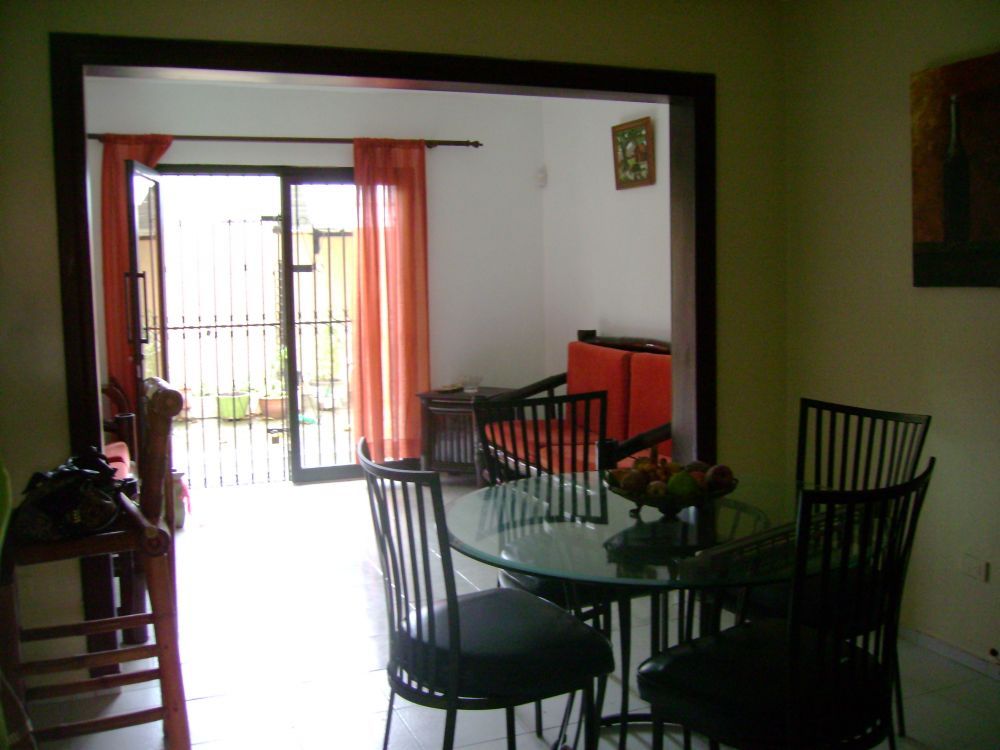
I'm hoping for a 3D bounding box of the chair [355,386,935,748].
[{"bbox_3d":[0.174,0.758,2.756,1.176,1.168,1.264,-6,11,-20],"label":"chair"}]

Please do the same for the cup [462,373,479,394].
[{"bbox_3d":[-0.204,0.076,6.056,0.121,0.093,0.098,2,-2,-31],"label":"cup"}]

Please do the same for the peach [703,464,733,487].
[{"bbox_3d":[0.713,0.346,2.718,0.069,0.076,0.074,21,4,5],"label":"peach"}]

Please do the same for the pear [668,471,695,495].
[{"bbox_3d":[0.568,0.341,2.612,0.065,0.071,0.071,-3,-10,-7],"label":"pear"}]

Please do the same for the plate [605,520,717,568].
[{"bbox_3d":[0.479,0.512,2.555,0.392,0.014,0.292,-11,14,-40],"label":"plate"}]

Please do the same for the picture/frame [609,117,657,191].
[{"bbox_3d":[0.864,-1.417,5.339,0.069,0.553,0.522,-8,6,-26],"label":"picture/frame"}]

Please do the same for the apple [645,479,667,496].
[{"bbox_3d":[0.494,0.356,2.635,0.043,0.046,0.044,-5,-17,42],"label":"apple"}]
